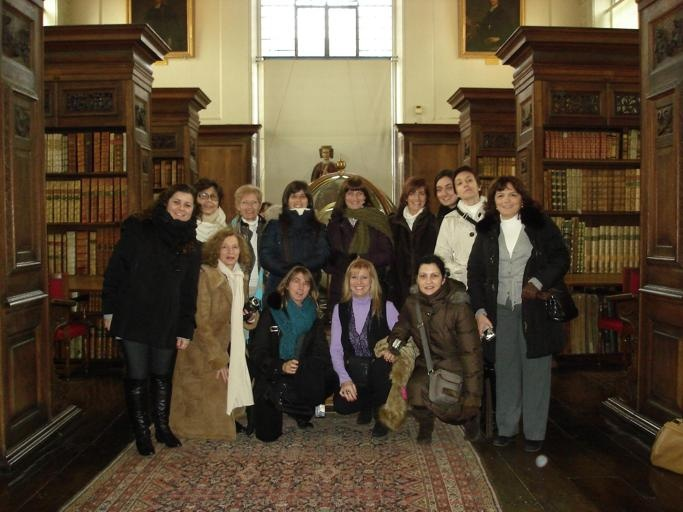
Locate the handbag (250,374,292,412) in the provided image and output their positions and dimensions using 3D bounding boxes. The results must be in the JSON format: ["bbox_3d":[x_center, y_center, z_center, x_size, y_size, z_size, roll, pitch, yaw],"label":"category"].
[{"bbox_3d":[-0.467,0.892,3.728,0.202,0.100,0.214,3,12,15],"label":"handbag"}]

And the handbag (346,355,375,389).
[{"bbox_3d":[0.104,0.782,3.799,0.170,0.196,0.071,1,-4,20],"label":"handbag"}]

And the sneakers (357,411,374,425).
[{"bbox_3d":[0.166,1.149,4.017,0.052,0.124,0.162,-2,4,27],"label":"sneakers"}]

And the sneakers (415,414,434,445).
[{"bbox_3d":[0.552,1.141,3.706,0.096,0.205,0.176,1,-6,2],"label":"sneakers"}]

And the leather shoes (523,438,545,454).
[{"bbox_3d":[1.223,1.208,3.602,0.155,0.071,0.058,-2,2,-30],"label":"leather shoes"}]

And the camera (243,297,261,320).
[{"bbox_3d":[-0.622,0.358,3.915,0.099,0.152,0.061,16,-2,44],"label":"camera"}]

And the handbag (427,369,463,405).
[{"bbox_3d":[0.667,0.821,3.609,0.212,0.224,0.153,15,-16,-22],"label":"handbag"}]

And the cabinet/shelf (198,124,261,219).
[{"bbox_3d":[-1.858,-1.123,9.235,0.995,1.594,1.090,-4,-15,1],"label":"cabinet/shelf"}]

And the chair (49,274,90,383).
[{"bbox_3d":[-2.585,0.639,5.327,0.374,0.821,0.472,6,-4,0],"label":"chair"}]

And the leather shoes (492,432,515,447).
[{"bbox_3d":[1.050,1.196,3.663,0.161,0.076,0.067,9,-6,-28],"label":"leather shoes"}]

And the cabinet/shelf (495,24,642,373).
[{"bbox_3d":[2.478,-0.613,5.802,1.422,2.928,0.790,2,13,4],"label":"cabinet/shelf"}]

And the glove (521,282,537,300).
[{"bbox_3d":[1.154,0.222,3.468,0.070,0.042,0.097,-16,8,-21],"label":"glove"}]
